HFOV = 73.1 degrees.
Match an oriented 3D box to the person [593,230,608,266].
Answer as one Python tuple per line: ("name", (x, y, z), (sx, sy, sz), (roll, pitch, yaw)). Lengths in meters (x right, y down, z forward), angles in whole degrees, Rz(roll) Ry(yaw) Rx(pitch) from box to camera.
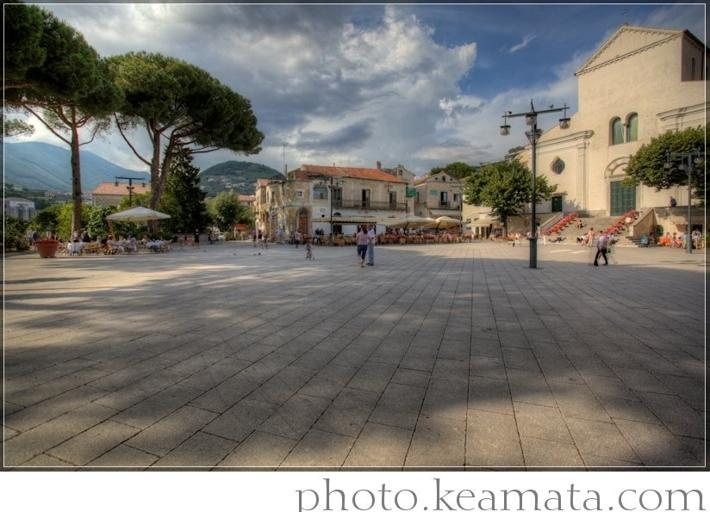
("person", (8.446, -0.272, 16.421), (0.451, 1.125, 1.300), (1, 4, 28))
